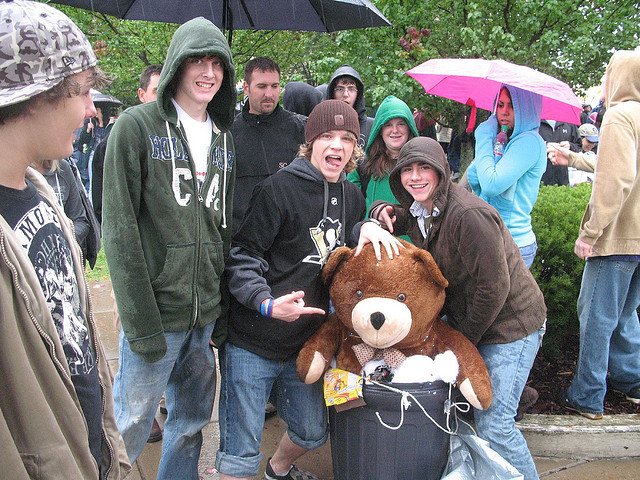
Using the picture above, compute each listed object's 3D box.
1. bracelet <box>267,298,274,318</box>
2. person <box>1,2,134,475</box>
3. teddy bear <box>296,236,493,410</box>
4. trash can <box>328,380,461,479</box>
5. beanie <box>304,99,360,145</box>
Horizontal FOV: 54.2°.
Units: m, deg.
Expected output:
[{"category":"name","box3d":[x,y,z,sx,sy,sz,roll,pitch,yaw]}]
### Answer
[{"category":"bracelet","box3d":[-0.288,0.393,3.630,0.030,0.093,0.056,-1,8,2]},{"category":"person","box3d":[-1.163,0.104,2.785,0.444,2.285,0.776,-3,8,-12]},{"category":"teddy bear","box3d":[0.520,0.555,3.939,1.213,1.076,0.837,6,27,18]},{"category":"trash can","box3d":[0.416,1.136,3.970,0.705,0.587,0.682,6,-4,-15]},{"category":"beanie","box3d":[0.126,-0.791,4.062,0.339,0.264,0.335,5,25,-2]}]
